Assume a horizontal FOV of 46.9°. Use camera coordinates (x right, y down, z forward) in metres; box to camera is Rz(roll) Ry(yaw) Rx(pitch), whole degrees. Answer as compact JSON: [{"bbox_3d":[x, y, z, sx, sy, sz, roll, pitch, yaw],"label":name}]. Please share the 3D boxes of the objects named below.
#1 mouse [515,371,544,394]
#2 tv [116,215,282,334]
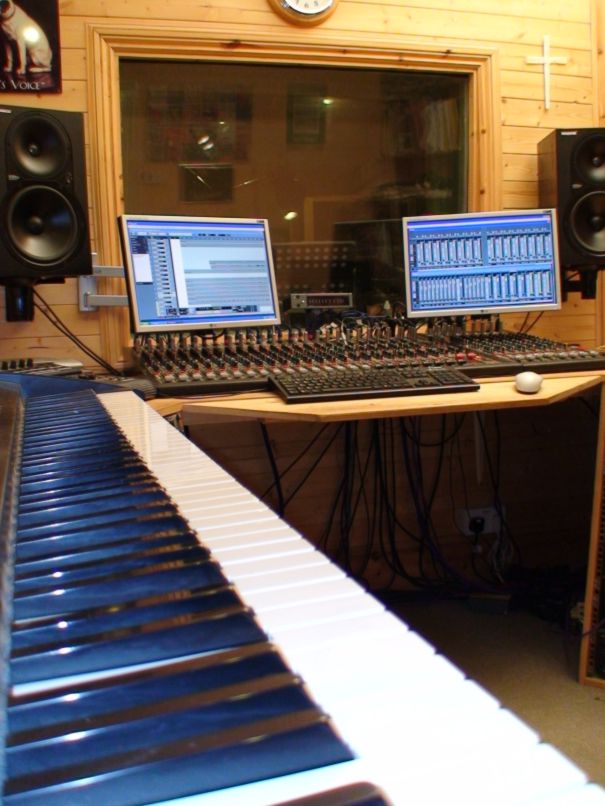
[{"bbox_3d":[0.530,-0.051,1.642,0.055,0.035,0.056,8,14,36],"label":"mouse"},{"bbox_3d":[-0.300,-0.371,2.021,0.455,0.282,0.048,-7,3,-33],"label":"tv"}]
